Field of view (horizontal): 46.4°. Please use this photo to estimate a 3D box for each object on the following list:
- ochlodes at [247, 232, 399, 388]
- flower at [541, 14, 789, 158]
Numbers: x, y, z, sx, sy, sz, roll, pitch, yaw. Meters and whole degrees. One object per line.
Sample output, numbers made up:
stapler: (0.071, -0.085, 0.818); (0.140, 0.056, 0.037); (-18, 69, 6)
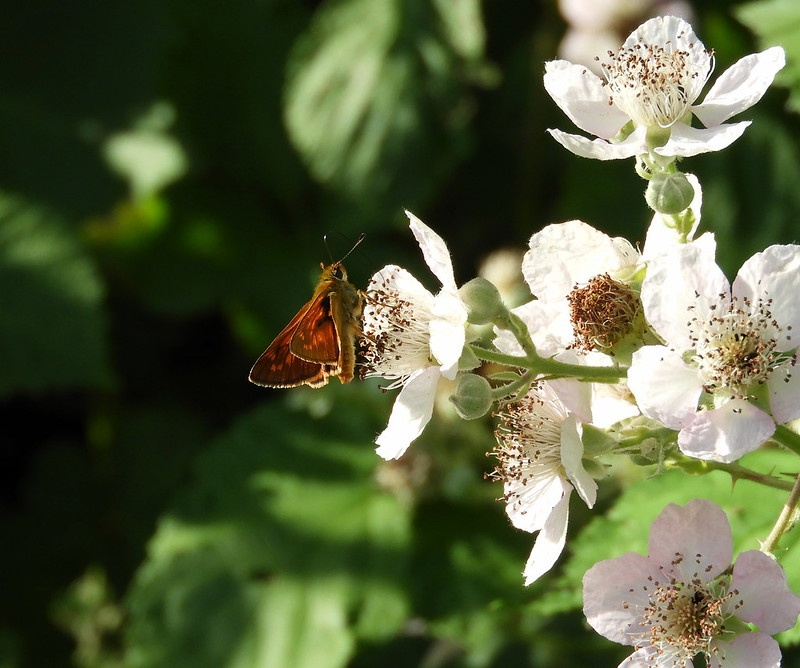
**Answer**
ochlodes: (-0.216, -0.001, 2.445); (0.226, 0.326, 0.384); (25, 92, 4)
flower: (0.513, -0.464, 1.862); (0.491, 0.518, 0.163); (-3, 88, -40)
